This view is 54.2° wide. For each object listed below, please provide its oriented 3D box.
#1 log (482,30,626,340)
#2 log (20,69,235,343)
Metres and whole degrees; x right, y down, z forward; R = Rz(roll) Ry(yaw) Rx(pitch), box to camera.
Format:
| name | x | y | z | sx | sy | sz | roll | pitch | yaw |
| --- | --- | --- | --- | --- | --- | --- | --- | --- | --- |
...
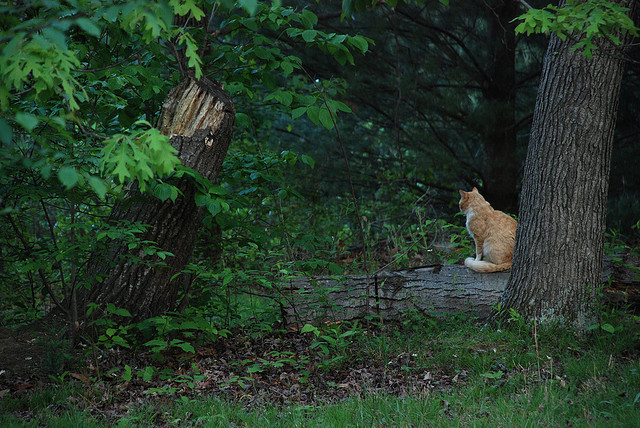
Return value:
| name | x | y | z | sx | sy | sz | roll | pitch | yaw |
| --- | --- | --- | --- | --- | --- | --- | --- | --- | --- |
| log | 2.942 | -0.348 | 7.473 | 1.180 | 3.600 | 0.578 | 1 | -7 | 25 |
| log | -2.210 | -0.101 | 7.245 | 0.847 | 3.482 | 1.052 | 5 | -26 | 44 |
